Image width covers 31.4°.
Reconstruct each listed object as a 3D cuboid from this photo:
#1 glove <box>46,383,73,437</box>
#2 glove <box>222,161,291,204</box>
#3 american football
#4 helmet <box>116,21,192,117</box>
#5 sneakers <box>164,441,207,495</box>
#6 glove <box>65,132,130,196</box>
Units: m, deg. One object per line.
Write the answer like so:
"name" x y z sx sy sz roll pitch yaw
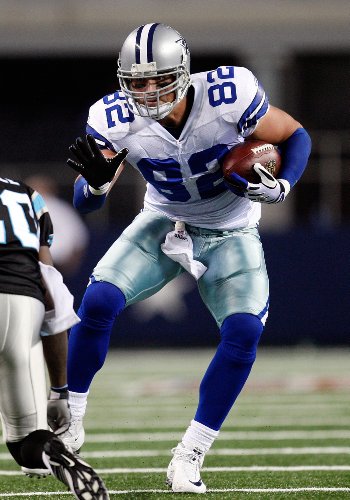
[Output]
"glove" -0.344 0.471 1.825 0.060 0.120 0.079 -7 12 -24
"glove" 0.268 -0.212 1.972 0.220 0.117 0.150 0 -5 -3
"american football" 0.237 -0.276 2.006 0.199 0.100 0.121 -12 -13 -25
"helmet" -0.060 -0.595 2.018 0.239 0.264 0.299 6 36 23
"sneakers" 0.032 0.632 1.799 0.079 0.065 0.150 31 -7 -12
"glove" -0.229 -0.258 1.889 0.193 0.178 0.057 -24 34 20
